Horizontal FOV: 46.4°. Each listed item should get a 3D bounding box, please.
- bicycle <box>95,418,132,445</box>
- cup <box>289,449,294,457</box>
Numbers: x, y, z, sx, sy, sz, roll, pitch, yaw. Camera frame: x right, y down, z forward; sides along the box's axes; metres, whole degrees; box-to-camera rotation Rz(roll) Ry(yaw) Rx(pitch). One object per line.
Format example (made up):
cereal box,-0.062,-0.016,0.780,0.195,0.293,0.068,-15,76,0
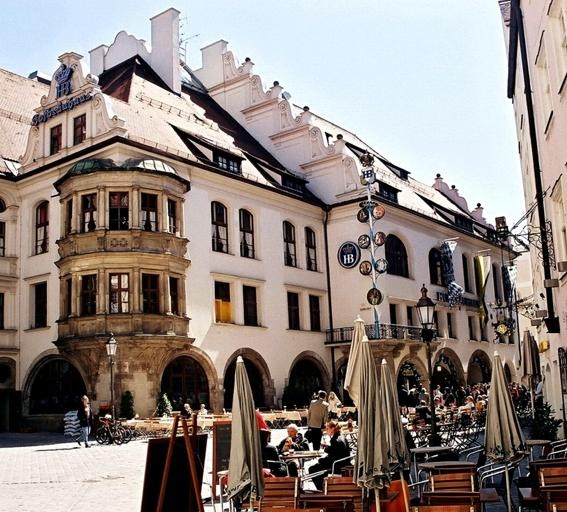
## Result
bicycle,-6.037,6.107,23.172,1.362,0.947,0.704,-14,-18,26
cup,0.158,3.650,12.310,0.093,0.064,0.107,1,10,-6
